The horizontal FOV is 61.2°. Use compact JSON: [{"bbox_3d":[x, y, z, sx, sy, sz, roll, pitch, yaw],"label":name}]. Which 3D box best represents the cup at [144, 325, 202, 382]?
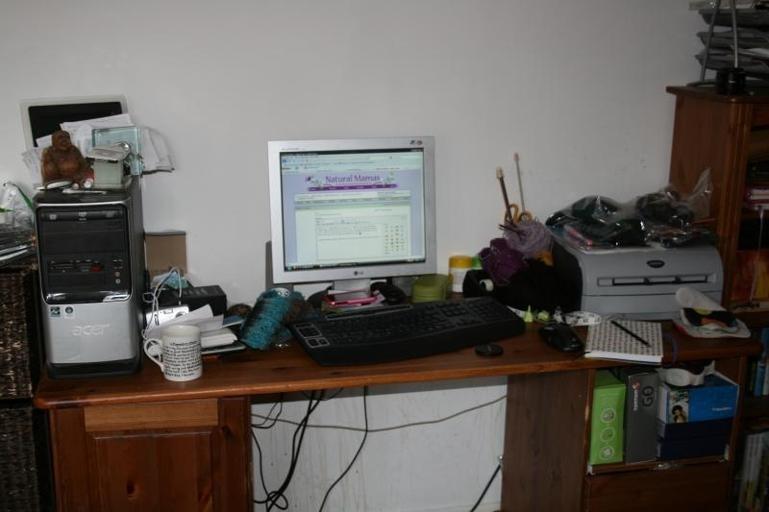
[{"bbox_3d":[-0.640,0.292,1.975,0.182,0.159,0.098,0,8,32],"label":"cup"}]

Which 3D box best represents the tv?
[{"bbox_3d":[-0.109,-0.167,2.341,0.618,0.518,0.024,-6,7,-10],"label":"tv"}]

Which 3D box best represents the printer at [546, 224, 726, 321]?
[{"bbox_3d":[0.902,0.080,2.273,0.424,0.202,0.296,-1,18,-4],"label":"printer"}]

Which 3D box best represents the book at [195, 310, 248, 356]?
[{"bbox_3d":[-0.506,0.238,2.099,0.152,0.095,0.183,-4,21,-12],"label":"book"}]

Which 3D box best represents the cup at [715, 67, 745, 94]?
[{"bbox_3d":[1.268,-0.640,2.384,0.103,0.068,0.102,-1,8,0],"label":"cup"}]

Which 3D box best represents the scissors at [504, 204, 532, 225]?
[{"bbox_3d":[0.532,-0.162,2.604,0.105,0.098,0.024,-5,2,6],"label":"scissors"}]

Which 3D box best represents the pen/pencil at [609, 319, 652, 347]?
[{"bbox_3d":[0.812,0.252,2.219,0.028,0.027,0.250,6,16,-22],"label":"pen/pencil"}]
